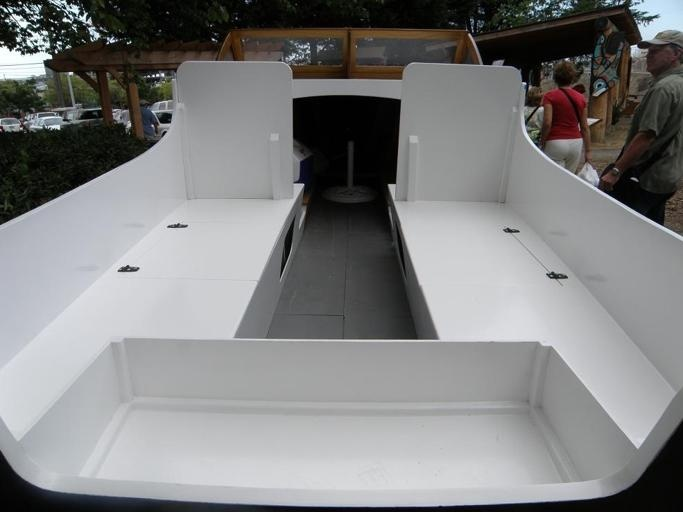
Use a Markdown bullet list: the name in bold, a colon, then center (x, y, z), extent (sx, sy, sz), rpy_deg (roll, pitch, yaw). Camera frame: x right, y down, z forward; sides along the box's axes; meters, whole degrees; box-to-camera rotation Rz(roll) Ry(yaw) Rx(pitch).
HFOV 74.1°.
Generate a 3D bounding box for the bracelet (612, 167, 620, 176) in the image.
- **bracelet**: center (1.683, -0.519, 2.782), extent (0.048, 0.034, 0.050), rpy_deg (-20, 30, -35)
